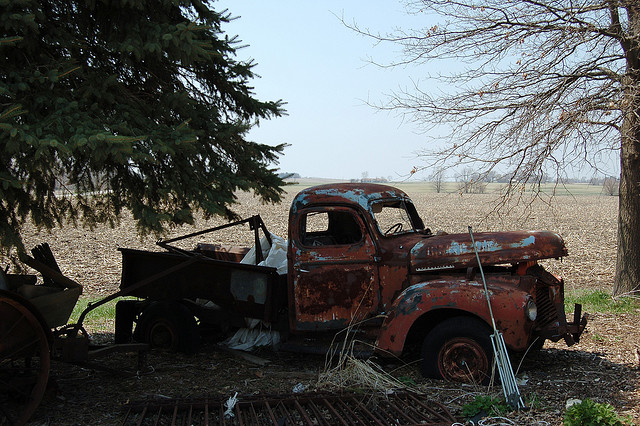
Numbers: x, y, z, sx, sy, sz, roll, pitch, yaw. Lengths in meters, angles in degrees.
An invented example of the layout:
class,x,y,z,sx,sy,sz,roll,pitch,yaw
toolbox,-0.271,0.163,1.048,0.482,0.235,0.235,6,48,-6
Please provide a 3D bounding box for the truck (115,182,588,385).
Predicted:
class,x,y,z,sx,sy,sz,roll,pitch,yaw
truck,0.438,1.103,8.394,7.106,2.381,3.159,-1,0,21
